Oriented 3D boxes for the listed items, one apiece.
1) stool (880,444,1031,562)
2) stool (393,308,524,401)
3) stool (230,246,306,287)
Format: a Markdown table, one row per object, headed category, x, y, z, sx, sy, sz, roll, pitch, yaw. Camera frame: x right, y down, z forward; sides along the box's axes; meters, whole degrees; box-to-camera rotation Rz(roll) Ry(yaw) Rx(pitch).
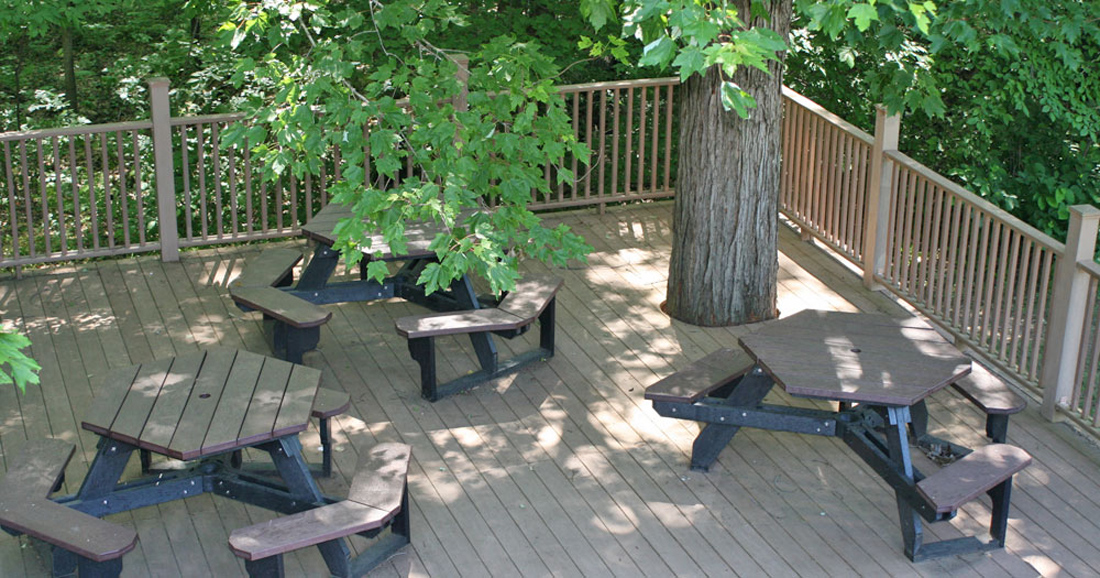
| category | x | y | z | sx | sy | sz | roll | pitch | yaw |
| --- | --- | --- | --- | --- | --- | --- | --- | --- | --- |
| stool | 3.195 | 1.721 | 6.627 | 1.010 | 0.667 | 0.571 | -10 | 19 | -18 |
| stool | -0.818 | 0.609 | 7.977 | 0.580 | 0.669 | 1.494 | 7 | 12 | 41 |
| stool | -2.815 | -0.195 | 8.435 | 0.423 | 0.157 | 0.794 | 5 | 28 | 7 |
